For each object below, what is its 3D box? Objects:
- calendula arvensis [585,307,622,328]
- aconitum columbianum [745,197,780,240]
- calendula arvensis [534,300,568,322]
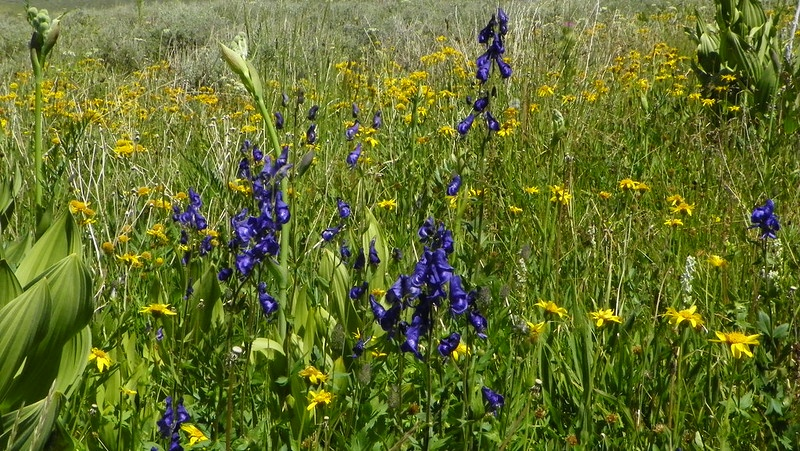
[{"bbox_3d":[1.248,0.562,4.250,0.151,0.087,0.163,8,9,32],"label":"calendula arvensis"},{"bbox_3d":[2.255,-0.037,4.383,0.195,0.261,0.102,0,-1,-13],"label":"aconitum columbianum"},{"bbox_3d":[0.922,0.510,4.257,0.162,0.086,0.177,13,-8,24],"label":"calendula arvensis"}]
